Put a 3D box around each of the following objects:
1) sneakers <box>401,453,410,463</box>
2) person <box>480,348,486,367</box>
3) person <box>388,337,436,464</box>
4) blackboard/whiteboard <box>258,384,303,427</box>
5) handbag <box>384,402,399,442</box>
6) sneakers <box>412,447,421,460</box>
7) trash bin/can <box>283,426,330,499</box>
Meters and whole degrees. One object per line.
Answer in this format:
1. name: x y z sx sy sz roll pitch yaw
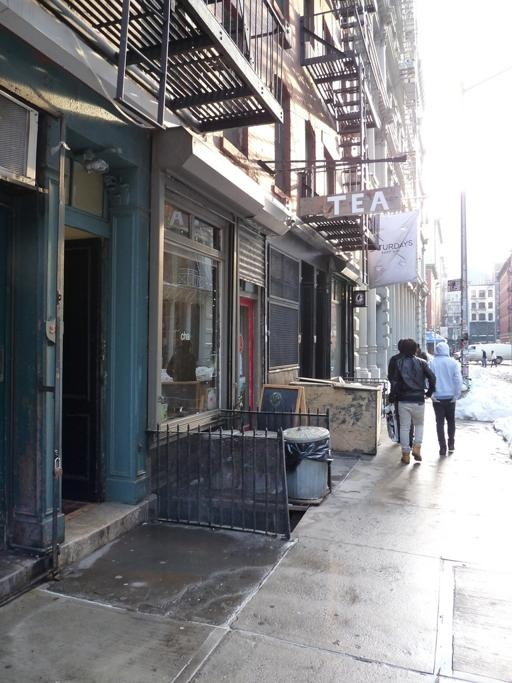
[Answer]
1. sneakers: 2.055 1.600 7.846 0.060 0.194 0.163 1 6 3
2. person: 18.872 1.434 47.408 0.245 1.347 3.337 0 0 19
3. person: 2.175 0.831 8.021 0.583 1.563 0.569 0 0 -21
4. blackboard/whiteboard: 0.365 0.943 7.690 0.620 0.470 1.430 0 0 -3
5. handbag: 1.985 1.178 8.304 0.100 0.523 0.307 0 0 2
6. sneakers: 2.267 1.585 8.040 0.081 0.207 0.247 -4 -26 22
7. trash bin/can: 0.557 1.316 6.153 0.508 0.599 0.556 0 0 4
